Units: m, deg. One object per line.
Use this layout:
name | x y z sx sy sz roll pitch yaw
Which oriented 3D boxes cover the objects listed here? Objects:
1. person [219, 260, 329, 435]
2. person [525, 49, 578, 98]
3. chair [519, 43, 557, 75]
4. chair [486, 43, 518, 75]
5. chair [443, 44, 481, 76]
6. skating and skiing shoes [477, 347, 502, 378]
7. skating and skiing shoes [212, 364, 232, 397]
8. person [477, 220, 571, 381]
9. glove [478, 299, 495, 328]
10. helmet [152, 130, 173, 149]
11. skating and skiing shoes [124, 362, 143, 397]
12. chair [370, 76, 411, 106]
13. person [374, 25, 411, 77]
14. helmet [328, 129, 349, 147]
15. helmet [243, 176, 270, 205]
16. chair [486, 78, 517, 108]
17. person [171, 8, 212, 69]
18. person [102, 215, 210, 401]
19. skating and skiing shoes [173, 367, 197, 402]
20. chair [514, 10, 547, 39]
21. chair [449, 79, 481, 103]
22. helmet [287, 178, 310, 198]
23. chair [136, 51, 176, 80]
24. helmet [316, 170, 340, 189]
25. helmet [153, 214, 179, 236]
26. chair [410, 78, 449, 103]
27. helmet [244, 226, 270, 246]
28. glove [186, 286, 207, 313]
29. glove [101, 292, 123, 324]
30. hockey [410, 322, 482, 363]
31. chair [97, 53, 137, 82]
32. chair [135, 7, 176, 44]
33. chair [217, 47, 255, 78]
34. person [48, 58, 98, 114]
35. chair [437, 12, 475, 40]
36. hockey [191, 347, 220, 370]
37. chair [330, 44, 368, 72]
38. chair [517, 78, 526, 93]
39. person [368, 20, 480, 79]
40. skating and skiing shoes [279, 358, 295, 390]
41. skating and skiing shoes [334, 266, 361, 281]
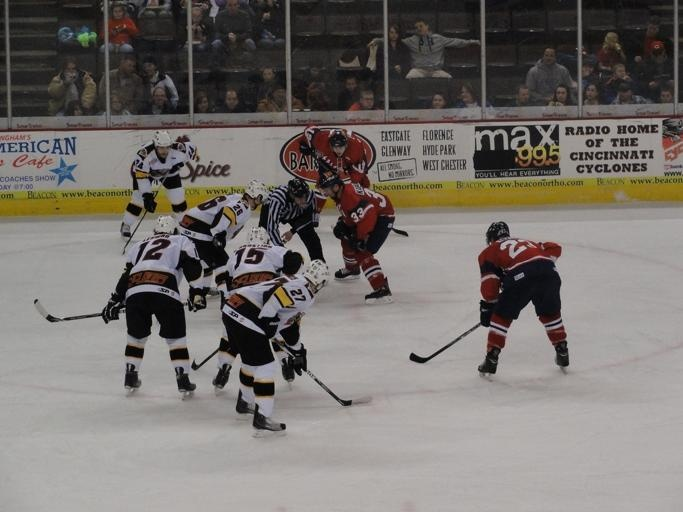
person | -0.553 0.698 8.074 0.709 1.311 0.581 -7 10 -38
person | 3.046 -2.647 14.475 0.716 0.794 0.202 0 8 6
chair | 2.880 -2.896 14.651 0.551 0.487 0.415 0 5 0
chair | 2.348 -2.888 14.638 0.431 0.411 0.355 -2 4 0
chair | 1.756 -2.858 14.461 0.460 0.439 0.465 3 12 18
skating and skiing shoes | 1.304 0.915 8.800 0.186 0.262 0.273 0 7 6
skating and skiing shoes | -1.017 1.048 8.453 0.107 0.215 0.307 12 25 -7
person | 1.614 0.392 8.838 0.814 1.270 0.522 -1 8 3
glove | 1.300 0.508 8.925 0.161 0.208 0.078 -3 7 -16
helmet | -2.123 -1.382 11.697 0.173 0.193 0.206 -7 39 -27
skating and skiing shoes | -1.740 1.037 8.441 0.114 0.208 0.316 1 9 1
chair | 0.719 -2.325 14.599 0.690 0.658 0.384 0 3 -1
person | 0.715 -3.006 14.358 0.683 1.005 0.373 -2 10 1
helmet | -0.042 -1.367 11.355 0.195 0.201 0.238 1 0 -7
helmet | -0.855 -0.650 10.147 0.190 0.225 0.313 1 8 16
chair | 2.320 -2.396 14.437 0.402 0.521 0.444 1 8 2
person | -2.103 -3.152 14.183 0.517 0.925 0.125 -2 8 -8
person | -1.619 0.424 8.546 0.874 1.470 0.702 -2 8 -9
skating and skiing shoes | -1.277 1.053 8.364 0.258 0.172 0.096 -14 -3 37
chair | 2.783 -3.409 14.706 0.666 0.447 0.353 -1 -1 5
chair | 1.790 -2.400 14.456 0.363 0.363 0.375 0 14 -1
helmet | -0.445 -0.707 10.266 0.174 0.197 0.209 -8 37 -7
chair | -2.682 -2.718 14.167 0.450 0.233 0.325 10 18 25
helmet | -0.125 -0.784 10.335 0.227 0.150 0.223 -2 7 -5
helmet | -1.570 -0.275 8.853 0.158 0.190 0.203 -1 -8 -3
chair | 1.272 -2.426 14.434 0.520 0.495 0.384 1 11 -1
helmet | -0.734 -0.181 8.635 0.147 0.177 0.187 1 13 0
glove | -1.282 0.383 8.862 0.099 0.282 0.116 3 30 -9
glove | -2.029 0.454 8.813 0.171 0.272 0.100 32 13 -3
hockey | 0.979 0.820 9.317 0.784 0.128 0.057 -23 -9 -12
chair | -3.218 -2.607 14.231 0.620 0.439 0.333 -2 10 -21
chair | -2.637 -3.312 14.166 0.499 0.476 0.306 3 -3 4
chair | -1.524 -2.774 14.215 0.694 0.464 0.372 0 1 0
person | -3.889 -2.391 14.246 0.686 0.870 0.503 1 20 -11
chair | 1.661 -3.385 14.458 0.645 0.337 0.446 -1 -4 0
hockey | -1.244 0.940 8.847 0.290 0.103 0.186 -37 12 -11
chair | 0.137 -2.837 14.296 0.572 0.372 0.307 0 11 3
chair | 2.608 -2.499 14.450 0.105 0.122 0.129 -1 -29 1
person | 1.219 -2.969 14.464 1.660 0.791 0.483 -3 11 2
skating and skiing shoes | -0.472 0.991 8.591 0.113 0.318 0.132 -10 16 -7
skating and skiing shoes | 0.058 0.198 11.116 0.325 0.129 0.115 0 12 -9
